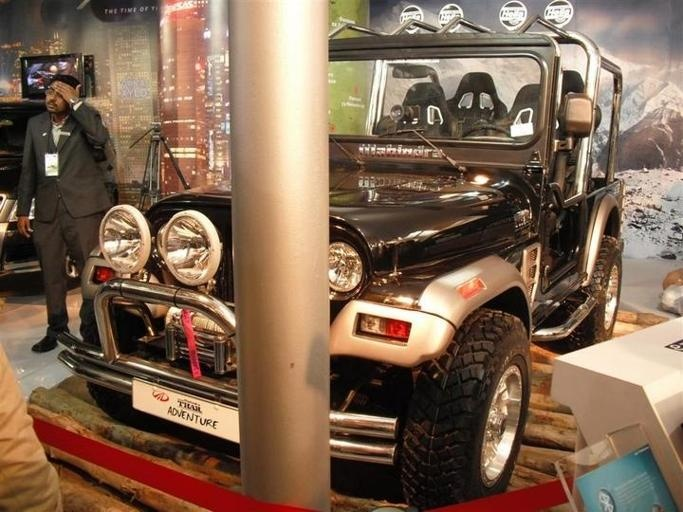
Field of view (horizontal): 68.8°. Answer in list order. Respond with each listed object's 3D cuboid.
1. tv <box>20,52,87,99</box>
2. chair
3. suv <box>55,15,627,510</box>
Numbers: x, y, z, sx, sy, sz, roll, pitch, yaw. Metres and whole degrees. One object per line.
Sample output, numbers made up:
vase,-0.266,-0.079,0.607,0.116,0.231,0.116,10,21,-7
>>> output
tv,-2.078,-1.324,3.604,0.329,0.211,0.035,2,12,2
chair,0.748,-0.906,3.084,0.635,0.431,0.900,7,8,39
suv,0.527,-0.297,3.382,2.013,2.089,3.698,4,7,39
